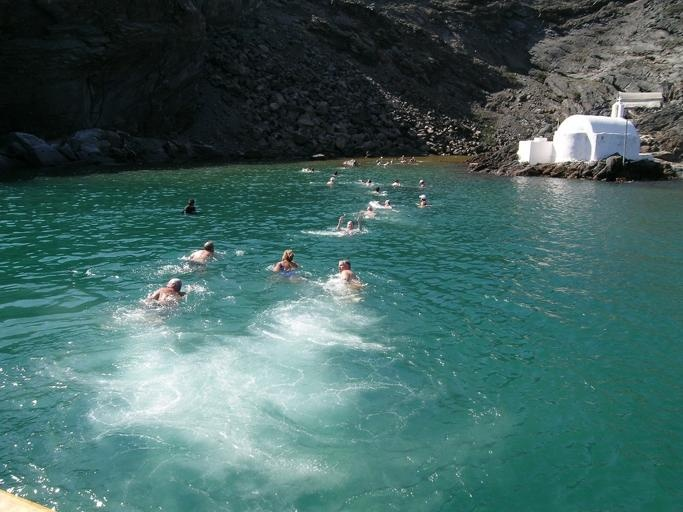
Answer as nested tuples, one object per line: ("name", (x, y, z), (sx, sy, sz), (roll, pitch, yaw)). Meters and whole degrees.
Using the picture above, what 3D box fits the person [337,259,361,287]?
("person", (0.287, 0.613, 17.573), (0.753, 0.795, 0.816), (1, 17, 1))

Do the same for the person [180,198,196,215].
("person", (-8.044, -2.565, 27.702), (0.698, 0.741, 1.125), (-5, 16, -16))

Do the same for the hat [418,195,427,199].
("hat", (4.950, -3.503, 32.175), (0.492, 0.351, 1.063), (-1, 12, 5))

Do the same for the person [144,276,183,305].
("person", (-5.306, 1.083, 15.983), (0.723, 0.557, 1.139), (9, 17, 28))
